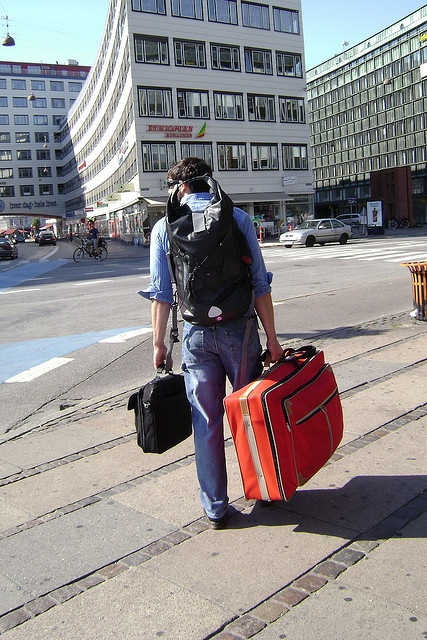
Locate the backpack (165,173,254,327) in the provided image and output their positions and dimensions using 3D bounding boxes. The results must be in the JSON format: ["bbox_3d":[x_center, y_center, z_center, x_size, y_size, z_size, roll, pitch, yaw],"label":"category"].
[{"bbox_3d":[-0.019,-0.317,2.220,0.383,0.475,0.326,-5,3,-3],"label":"backpack"}]

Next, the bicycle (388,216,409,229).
[{"bbox_3d":[19.125,-10.036,51.520,1.840,1.150,1.010,-3,8,10],"label":"bicycle"}]

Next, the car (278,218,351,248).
[{"bbox_3d":[6.582,-5.542,31.892,4.194,1.499,1.977,-6,8,-24],"label":"car"}]

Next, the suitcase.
[{"bbox_3d":[0.311,0.485,2.274,0.371,0.574,0.697,-8,12,36],"label":"suitcase"}]

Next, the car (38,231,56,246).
[{"bbox_3d":[-19.364,-9.428,57.638,1.560,1.665,2.360,-6,3,-26],"label":"car"}]
